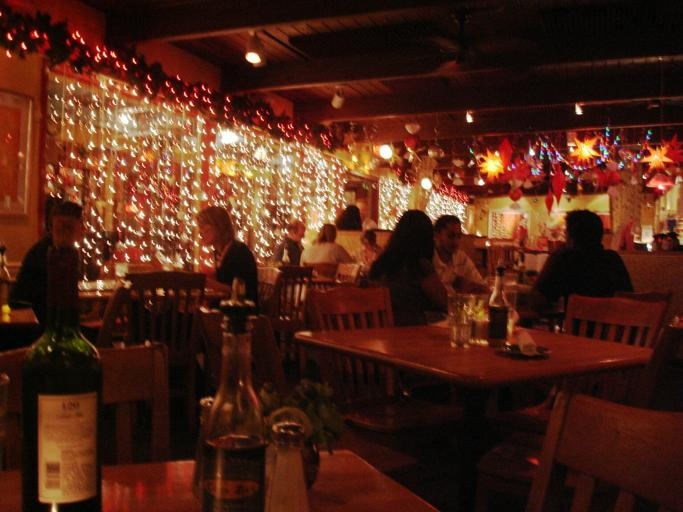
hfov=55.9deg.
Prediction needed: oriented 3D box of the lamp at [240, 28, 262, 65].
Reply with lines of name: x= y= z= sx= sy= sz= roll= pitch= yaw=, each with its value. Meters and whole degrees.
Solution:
lamp: x=-0.754 y=-1.815 z=5.608 sx=0.152 sy=0.220 sz=0.310 roll=2 pitch=2 yaw=-9

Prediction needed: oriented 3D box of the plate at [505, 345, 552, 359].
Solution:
plate: x=0.687 y=0.357 z=2.413 sx=0.173 sy=0.045 sz=0.172 roll=3 pitch=2 yaw=14

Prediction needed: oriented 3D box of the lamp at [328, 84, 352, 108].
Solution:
lamp: x=-0.011 y=-2.033 z=8.093 sx=0.184 sy=0.341 sz=0.323 roll=16 pitch=-38 yaw=0
